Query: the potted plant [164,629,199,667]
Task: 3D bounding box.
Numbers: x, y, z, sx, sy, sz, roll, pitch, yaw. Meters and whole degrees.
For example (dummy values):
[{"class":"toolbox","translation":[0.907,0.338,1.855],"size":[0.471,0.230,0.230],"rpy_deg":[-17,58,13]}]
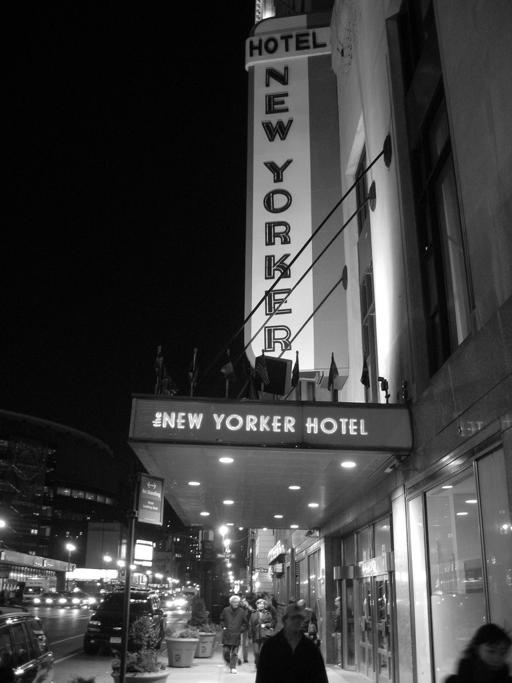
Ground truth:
[{"class":"potted plant","translation":[-1.871,7.836,15.342],"size":[0.641,0.706,0.844],"rpy_deg":[1,-27,0]}]
